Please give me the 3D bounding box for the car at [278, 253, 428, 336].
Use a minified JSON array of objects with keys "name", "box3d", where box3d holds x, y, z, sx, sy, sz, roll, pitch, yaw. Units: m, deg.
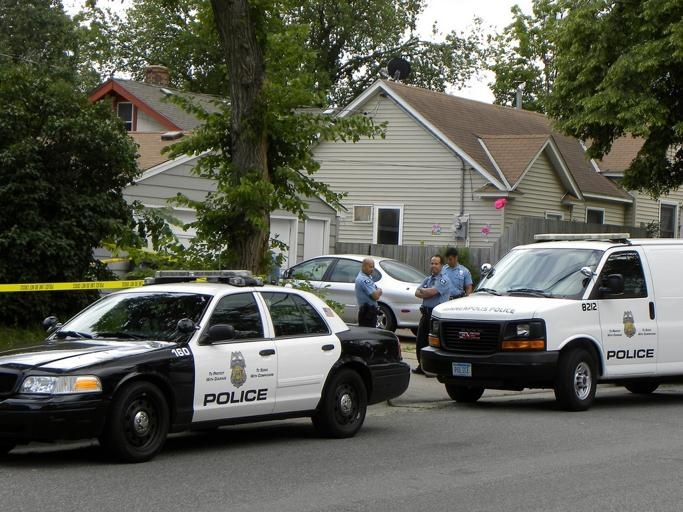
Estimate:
[{"name":"car","box3d":[0.118,0.873,18.661,3.537,1.218,1.674,4,0,21]}]
